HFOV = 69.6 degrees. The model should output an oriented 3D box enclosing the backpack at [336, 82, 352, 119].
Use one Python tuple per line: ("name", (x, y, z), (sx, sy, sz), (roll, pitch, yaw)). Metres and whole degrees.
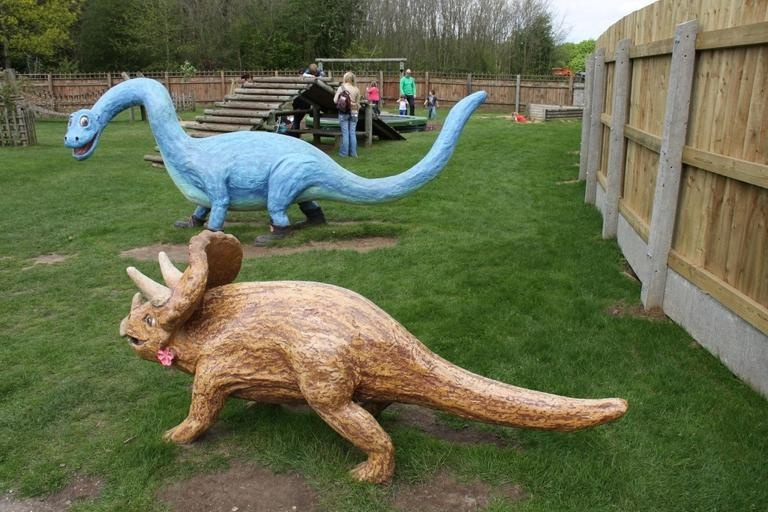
("backpack", (-1.123, -4.351, 15.581), (0.438, 0.778, 0.270), (-2, 20, -6))
